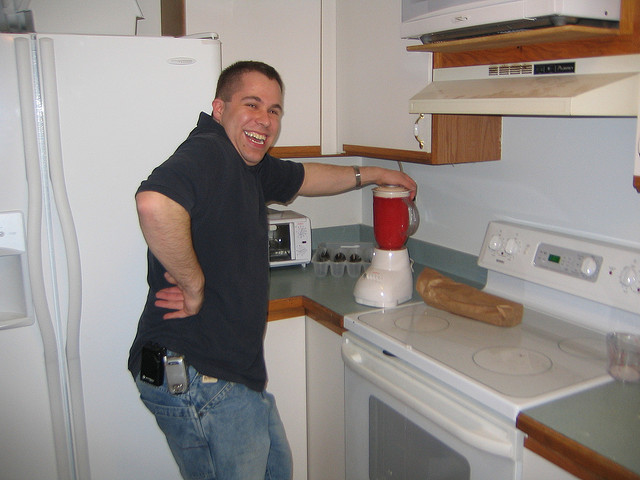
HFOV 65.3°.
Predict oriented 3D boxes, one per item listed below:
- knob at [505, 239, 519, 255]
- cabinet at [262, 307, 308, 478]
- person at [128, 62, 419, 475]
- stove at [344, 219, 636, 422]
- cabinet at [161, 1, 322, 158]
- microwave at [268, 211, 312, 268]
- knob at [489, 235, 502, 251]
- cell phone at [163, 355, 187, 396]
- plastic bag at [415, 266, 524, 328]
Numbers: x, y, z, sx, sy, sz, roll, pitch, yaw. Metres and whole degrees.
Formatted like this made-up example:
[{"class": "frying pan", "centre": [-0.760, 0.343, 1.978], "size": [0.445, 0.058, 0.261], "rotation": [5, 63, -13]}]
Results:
[{"class": "knob", "centre": [0.745, 0.027, 1.940], "size": [0.036, 0.065, 0.033], "rotation": [13, -29, 12]}, {"class": "cabinet", "centre": [-0.156, 0.678, 2.237], "size": [0.207, 0.674, 0.256], "rotation": [-1, 14, -19]}, {"class": "person", "centre": [-0.146, -0.114, 2.520], "size": [1.223, 2.082, 1.052], "rotation": [-4, 13, -13]}, {"class": "stove", "centre": [0.615, 0.194, 1.730], "size": [0.710, 0.387, 0.810], "rotation": [-8, 15, -32]}, {"class": "cabinet", "centre": [-0.332, -0.853, 2.435], "size": [0.680, 1.052, 0.455], "rotation": [-4, 10, -22]}, {"class": "microwave", "centre": [-0.160, -0.003, 2.604], "size": [0.219, 0.244, 0.310], "rotation": [-5, 8, -20]}, {"class": "knob", "centre": [0.703, 0.011, 2.008], "size": [0.014, 0.040, 0.053], "rotation": [6, -18, -15]}, {"class": "cell phone", "centre": [-0.453, 0.413, 1.590], "size": [0.069, 0.120, 0.066], "rotation": [-4, 18, -9]}, {"class": "plastic bag", "centre": [0.563, 0.230, 1.927], "size": [0.209, 0.136, 0.406], "rotation": [-8, 16, -42]}]
